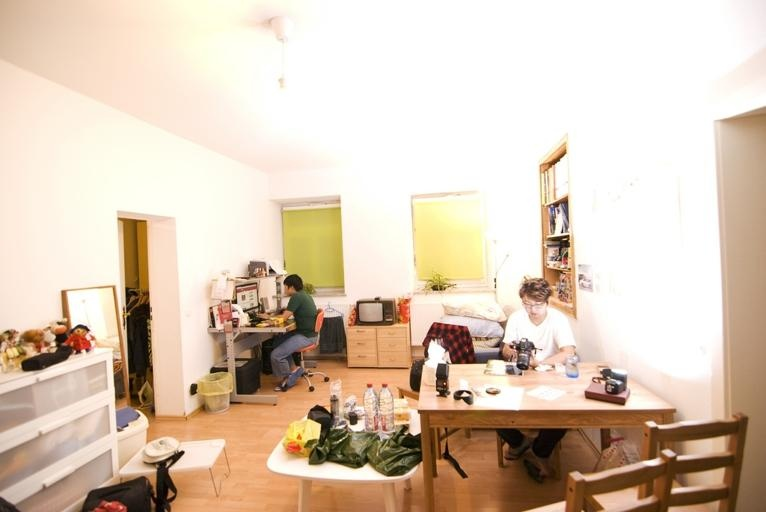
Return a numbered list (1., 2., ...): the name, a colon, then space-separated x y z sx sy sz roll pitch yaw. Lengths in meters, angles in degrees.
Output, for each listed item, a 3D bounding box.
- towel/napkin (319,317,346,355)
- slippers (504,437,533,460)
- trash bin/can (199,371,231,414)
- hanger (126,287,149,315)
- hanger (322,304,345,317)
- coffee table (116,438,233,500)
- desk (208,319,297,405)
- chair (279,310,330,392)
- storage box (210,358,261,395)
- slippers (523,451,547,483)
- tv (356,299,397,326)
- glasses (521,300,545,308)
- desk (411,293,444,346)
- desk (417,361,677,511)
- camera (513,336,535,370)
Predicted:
1. towel/napkin: -0.697 1.114 7.414 0.495 0.625 0.480 1 0 -5
2. slippers: 1.178 1.720 4.616 0.280 0.101 0.142 -29 1 -19
3. trash bin/can: -1.852 1.526 5.808 0.375 0.335 0.311 -4 2 -20
4. hanger: -2.801 0.530 5.972 0.226 0.300 0.100 4 -11 2
5. hanger: -0.688 0.779 7.398 0.188 0.184 0.013 -2 -14 -11
6. coffee table: -1.735 1.840 4.453 0.871 0.371 0.621 -4 2 -23
7. desk: -1.591 1.172 6.309 0.810 0.692 1.450 0 1 1
8. chair: -1.052 1.154 6.747 0.836 1.097 0.846 1 0 -13
9. storage box: -1.742 1.409 6.216 0.426 0.435 0.423 0 4 7
10. slippers: 1.289 1.797 4.449 0.096 0.110 0.279 -4 15 -11
11. tv: -0.102 0.753 6.936 0.561 0.407 0.320 -1 -6 6
12. glasses: 1.338 0.431 4.617 0.179 0.063 0.077 -3 2 15
13. desk: 0.539 0.795 7.293 0.585 0.761 0.802 0 0 9
14. desk: 1.247 1.366 3.966 1.292 0.656 0.808 -1 -1 5
15. camera: 1.199 0.828 4.408 0.213 0.222 0.090 3 -22 4
